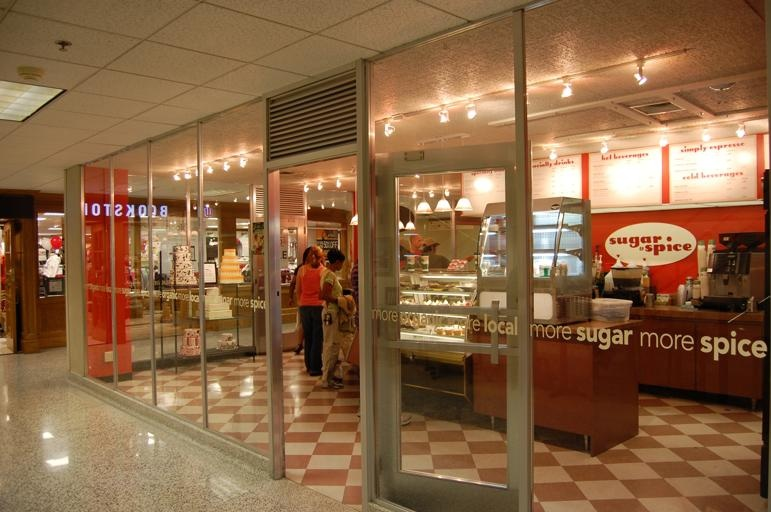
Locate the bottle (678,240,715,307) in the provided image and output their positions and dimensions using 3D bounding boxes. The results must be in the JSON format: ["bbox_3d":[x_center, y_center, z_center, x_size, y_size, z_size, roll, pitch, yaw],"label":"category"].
[{"bbox_3d":[2.094,0.112,4.002,0.347,0.411,0.195,-9,9,-41],"label":"bottle"}]

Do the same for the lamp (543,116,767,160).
[{"bbox_3d":[1.774,-0.846,4.272,1.324,0.199,0.419,-1,7,13],"label":"lamp"}]

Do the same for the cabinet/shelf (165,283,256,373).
[{"bbox_3d":[-1.824,0.769,6.264,1.176,0.926,0.393,0,2,35],"label":"cabinet/shelf"}]

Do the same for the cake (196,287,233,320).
[{"bbox_3d":[-1.784,0.488,6.350,0.344,0.396,0.446,-3,4,-42],"label":"cake"}]

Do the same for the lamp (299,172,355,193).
[{"bbox_3d":[-0.883,-1.071,8.802,0.770,0.244,2.481,-4,7,-8],"label":"lamp"}]

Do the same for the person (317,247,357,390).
[{"bbox_3d":[-0.656,0.815,7.784,0.508,1.818,0.634,-4,7,-7],"label":"person"}]

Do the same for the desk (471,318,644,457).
[{"bbox_3d":[1.274,0.980,4.374,1.122,1.145,0.497,0,8,22],"label":"desk"}]

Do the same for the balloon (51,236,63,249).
[{"bbox_3d":[-8.447,-0.327,15.172,0.221,0.318,0.683,-8,8,-32],"label":"balloon"}]

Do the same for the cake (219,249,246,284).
[{"bbox_3d":[-1.609,0.107,6.120,0.351,0.432,0.348,0,5,-18],"label":"cake"}]

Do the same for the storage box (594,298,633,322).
[{"bbox_3d":[1.561,0.379,4.109,0.150,0.073,0.196,1,2,-27],"label":"storage box"}]

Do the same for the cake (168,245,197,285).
[{"bbox_3d":[-2.242,0.106,6.592,0.115,0.444,0.539,-9,9,-38],"label":"cake"}]
